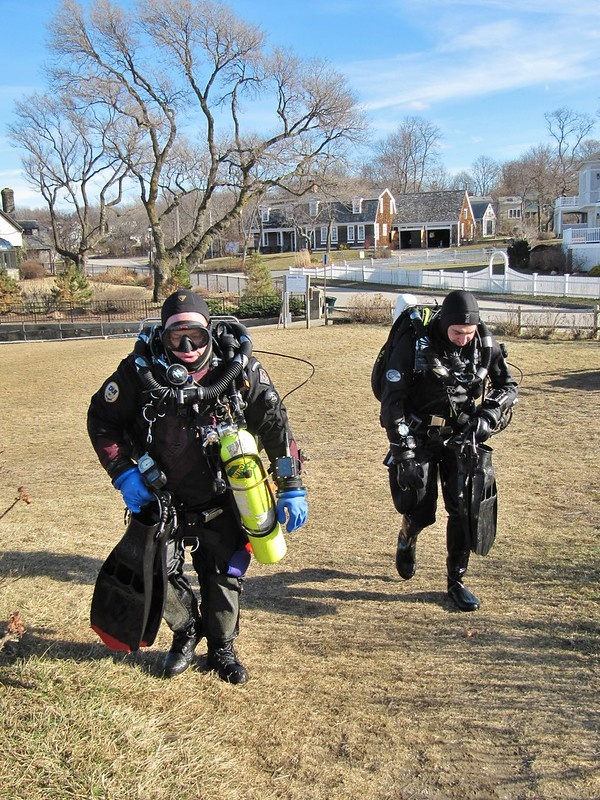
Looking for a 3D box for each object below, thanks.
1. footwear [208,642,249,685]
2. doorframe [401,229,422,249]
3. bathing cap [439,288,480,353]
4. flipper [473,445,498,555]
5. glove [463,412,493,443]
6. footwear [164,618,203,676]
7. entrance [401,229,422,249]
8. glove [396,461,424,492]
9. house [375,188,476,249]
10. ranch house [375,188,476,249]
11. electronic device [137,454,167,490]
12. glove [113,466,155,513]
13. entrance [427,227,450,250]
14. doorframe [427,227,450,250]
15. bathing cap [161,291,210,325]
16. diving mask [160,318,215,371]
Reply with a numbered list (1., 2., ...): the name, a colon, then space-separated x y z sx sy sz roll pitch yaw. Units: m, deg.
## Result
1. footwear: -0.366 1.334 3.555 0.109 0.169 0.299 -4 -2 -36
2. doorframe: 11.110 -15.549 68.195 2.611 2.324 1.860 4 14 25
3. bathing cap: 0.984 -0.492 4.311 0.250 0.359 0.306 0 7 12
4. flipper: 1.146 0.637 4.337 0.128 0.689 0.269 2 8 21
5. glove: 1.105 0.178 4.323 0.142 0.174 0.171 3 33 7
6. footwear: -0.588 1.281 3.550 0.103 0.126 0.308 3 4 6
7. entrance: 11.149 -15.525 68.159 2.611 2.325 1.860 4 14 25
8. glove: 0.677 0.468 4.291 0.161 0.224 0.180 0 7 9
9. house: 12.656 -17.001 66.283 6.998 5.488 3.333 4 9 38
10. ranch house: 12.634 -17.014 66.330 6.977 5.503 3.404 4 9 37
11. electronic device: -0.729 0.360 3.433 0.106 0.180 0.066 -37 -28 -1
12. glove: -0.825 0.471 3.470 0.174 0.217 0.202 -20 20 0
13. entrance: 13.087 -15.220 66.112 2.432 1.659 0.696 6 10 44
14. doorframe: 13.113 -15.220 66.104 2.449 1.659 0.730 5 10 41
15. bathing cap: -0.592 -0.469 3.539 0.206 0.158 0.204 -6 9 -3
16. diving mask: -0.527 -0.304 3.503 0.214 0.239 0.267 -18 28 4
